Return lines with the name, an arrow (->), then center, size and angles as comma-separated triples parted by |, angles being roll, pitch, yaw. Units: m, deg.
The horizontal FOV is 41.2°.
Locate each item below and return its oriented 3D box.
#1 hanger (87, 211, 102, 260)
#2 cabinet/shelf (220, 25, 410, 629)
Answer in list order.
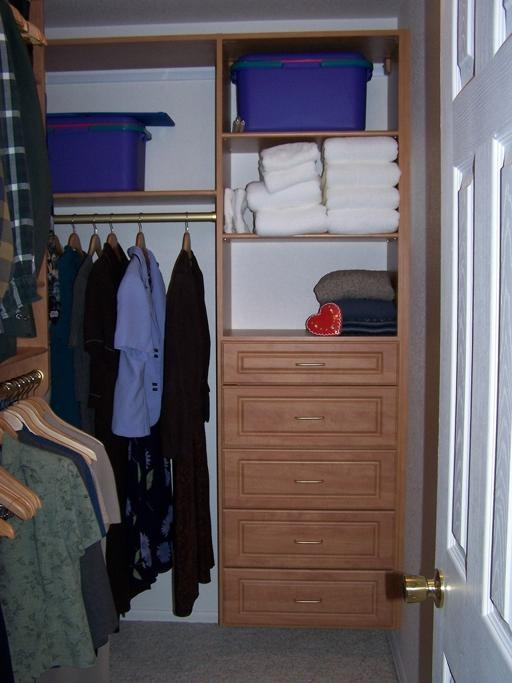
hanger -> -0.588, -0.382, 2.486 | 0.045, 0.161, 0.395 | -3, 7, -12
cabinet/shelf -> 0.185, -0.203, 2.418 | 0.644, 2.326, 0.632 | 4, 36, 9
